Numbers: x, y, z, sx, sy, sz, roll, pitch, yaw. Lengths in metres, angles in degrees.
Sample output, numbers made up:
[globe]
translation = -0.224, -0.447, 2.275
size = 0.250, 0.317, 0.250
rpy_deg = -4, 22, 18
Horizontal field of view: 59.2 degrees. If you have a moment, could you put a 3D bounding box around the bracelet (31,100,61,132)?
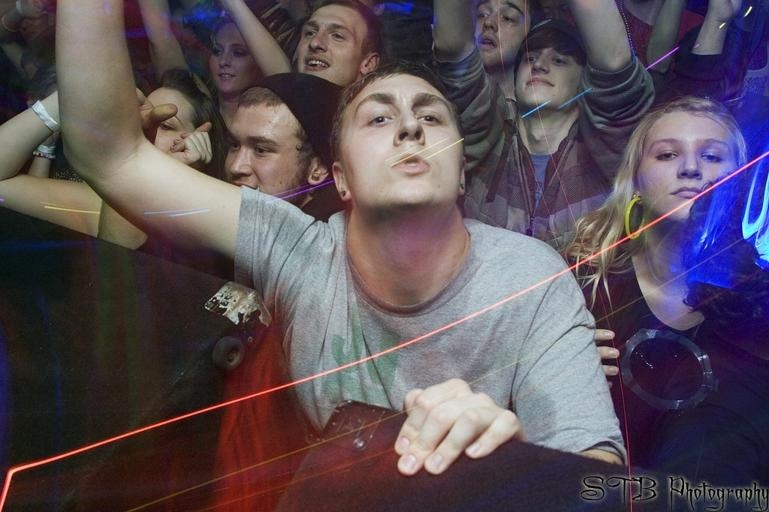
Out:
[bracelet]
translation = -1.279, -0.523, 2.545
size = 0.085, 0.041, 0.115
rpy_deg = -42, 82, 5

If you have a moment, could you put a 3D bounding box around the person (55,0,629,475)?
[person]
translation = -0.074, -0.132, 2.083
size = 1.745, 1.266, 0.944
rpy_deg = 25, 51, 36
